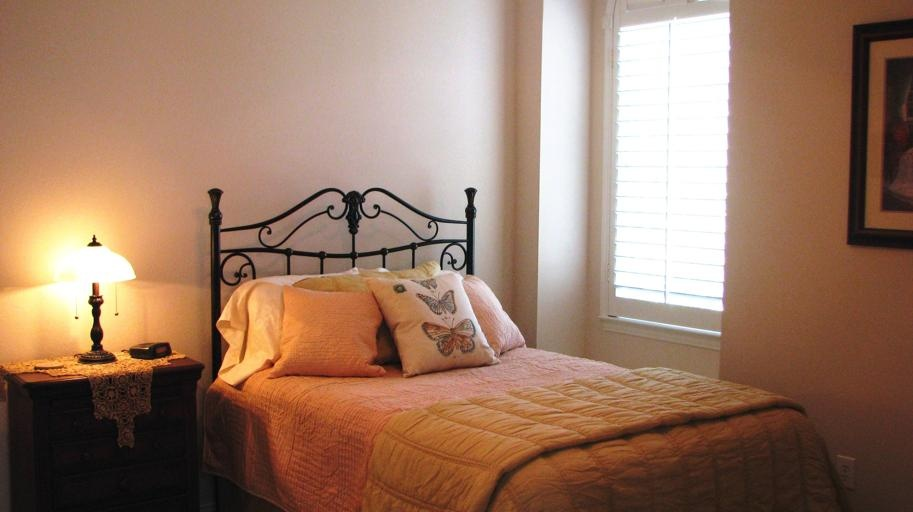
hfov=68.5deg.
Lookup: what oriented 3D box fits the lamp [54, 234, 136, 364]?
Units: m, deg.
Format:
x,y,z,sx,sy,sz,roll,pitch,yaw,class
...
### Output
x,y,z,sx,sy,sz,roll,pitch,yaw,class
-2.184,0.252,4.076,0.389,0.749,0.335,-7,8,-27,lamp
